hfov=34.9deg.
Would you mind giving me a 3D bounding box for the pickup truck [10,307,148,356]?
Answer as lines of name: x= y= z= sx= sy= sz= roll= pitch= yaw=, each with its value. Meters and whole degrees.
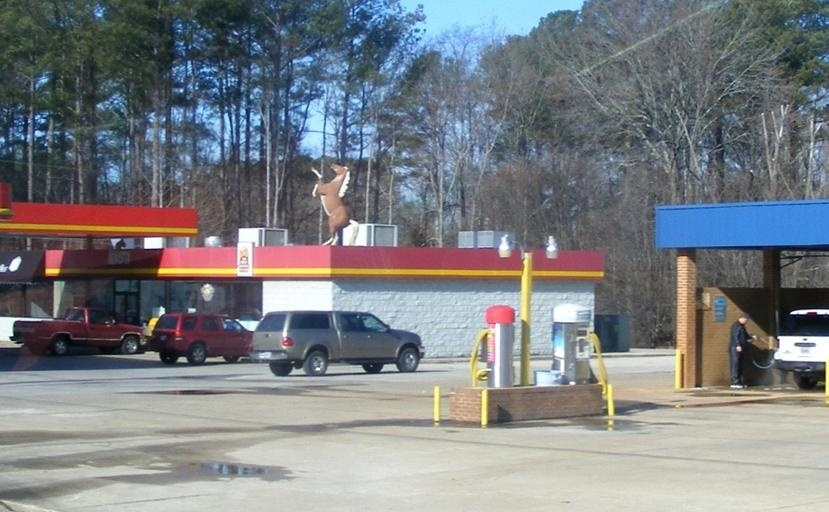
pickup truck: x=-17.852 y=4.173 z=69.987 sx=2.865 sy=2.434 sz=7.142 roll=-2 pitch=-3 yaw=36
